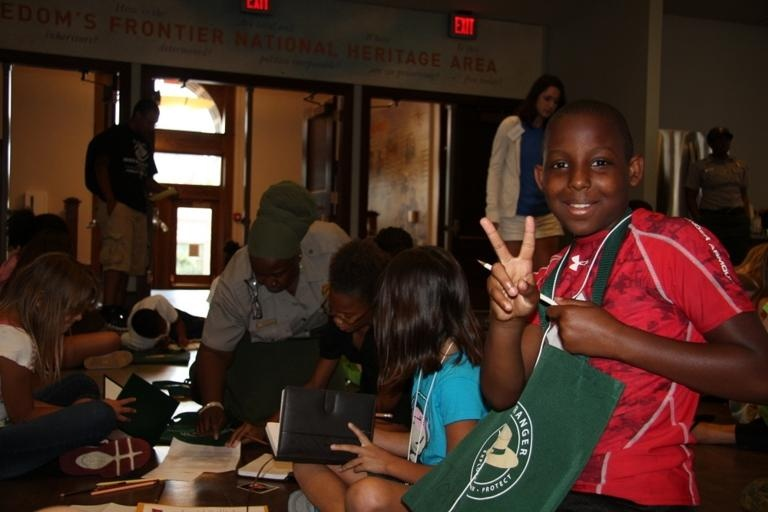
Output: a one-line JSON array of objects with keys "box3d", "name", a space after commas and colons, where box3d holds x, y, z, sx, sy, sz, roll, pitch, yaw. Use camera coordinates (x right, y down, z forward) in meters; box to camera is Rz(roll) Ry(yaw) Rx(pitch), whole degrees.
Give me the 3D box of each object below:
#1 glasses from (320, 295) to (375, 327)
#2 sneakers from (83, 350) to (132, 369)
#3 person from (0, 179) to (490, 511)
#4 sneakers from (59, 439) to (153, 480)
[{"box3d": [-0.153, 0.242, 2.735, 0.132, 0.103, 0.177, 22, 8, 38], "name": "glasses"}, {"box3d": [-1.858, 0.707, 4.234, 0.327, 0.120, 0.136, 1, -7, -22], "name": "sneakers"}, {"box3d": [-0.736, 0.435, 3.376, 1.121, 1.399, 1.393, 5, 43, 3], "name": "person"}, {"box3d": [-1.171, 0.857, 2.656, 0.344, 0.061, 0.167, 0, 45, -7], "name": "sneakers"}]
